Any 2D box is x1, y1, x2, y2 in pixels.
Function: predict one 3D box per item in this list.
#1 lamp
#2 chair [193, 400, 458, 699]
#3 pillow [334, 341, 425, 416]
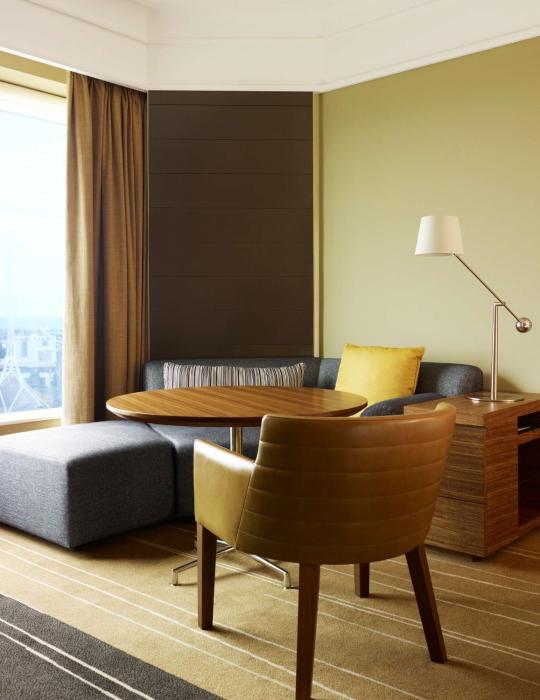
[{"bbox_3d":[0.991,-0.222,2.779,0.559,0.893,0.953,0,-2,14],"label":"lamp"},{"bbox_3d":[0.149,0.316,1.501,0.604,0.701,0.635,-1,4,-33],"label":"chair"},{"bbox_3d":[0.517,0.151,2.981,0.414,0.329,0.200,7,-6,36],"label":"pillow"}]
